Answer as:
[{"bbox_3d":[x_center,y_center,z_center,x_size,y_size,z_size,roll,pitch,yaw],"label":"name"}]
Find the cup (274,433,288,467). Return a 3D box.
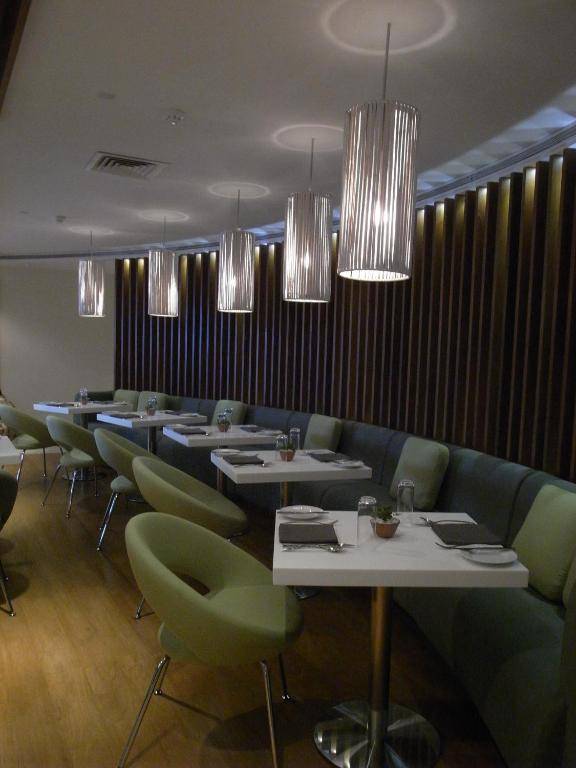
[{"bbox_3d":[-0.065,0.373,3.376,0.108,0.217,0.110,1,-2,0],"label":"cup"}]

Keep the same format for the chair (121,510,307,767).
[{"bbox_3d":[-0.247,0.684,1.982,0.709,0.890,0.698,0,3,-2],"label":"chair"}]

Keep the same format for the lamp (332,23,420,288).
[{"bbox_3d":[0.326,-0.792,2.043,0.234,0.794,0.232,7,9,26],"label":"lamp"}]

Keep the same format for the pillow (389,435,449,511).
[{"bbox_3d":[0.820,0.570,3.693,0.210,0.392,0.572,0,3,-7],"label":"pillow"}]

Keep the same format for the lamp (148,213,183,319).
[{"bbox_3d":[-1.204,-0.983,5.592,0.279,0.631,0.248,-2,7,-16],"label":"lamp"}]

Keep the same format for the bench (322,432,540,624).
[{"bbox_3d":[0.699,0.798,3.712,0.655,0.830,2.258,7,-5,-9],"label":"bench"}]

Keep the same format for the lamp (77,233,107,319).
[{"bbox_3d":[-2.089,-1.026,6.160,0.255,0.582,0.171,-3,7,-25],"label":"lamp"}]

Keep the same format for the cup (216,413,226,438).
[{"bbox_3d":[-0.499,0.292,4.392,0.082,0.141,0.180,-1,7,-5],"label":"cup"}]

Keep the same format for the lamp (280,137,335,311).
[{"bbox_3d":[0.115,-0.811,3.418,0.296,0.631,0.211,-1,7,-7],"label":"lamp"}]

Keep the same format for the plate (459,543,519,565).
[{"bbox_3d":[0.589,0.503,1.700,0.156,0.026,0.160,1,7,7],"label":"plate"}]

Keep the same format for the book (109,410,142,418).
[{"bbox_3d":[-1.464,0.296,5.201,0.225,0.020,0.416,-3,7,-26],"label":"book"}]

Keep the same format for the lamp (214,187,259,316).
[{"bbox_3d":[-0.410,-0.889,4.539,0.274,0.623,0.215,-1,7,-8],"label":"lamp"}]

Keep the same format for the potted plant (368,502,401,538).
[{"bbox_3d":[0.330,0.459,1.952,0.088,0.096,0.094,-1,-1,-25],"label":"potted plant"}]
